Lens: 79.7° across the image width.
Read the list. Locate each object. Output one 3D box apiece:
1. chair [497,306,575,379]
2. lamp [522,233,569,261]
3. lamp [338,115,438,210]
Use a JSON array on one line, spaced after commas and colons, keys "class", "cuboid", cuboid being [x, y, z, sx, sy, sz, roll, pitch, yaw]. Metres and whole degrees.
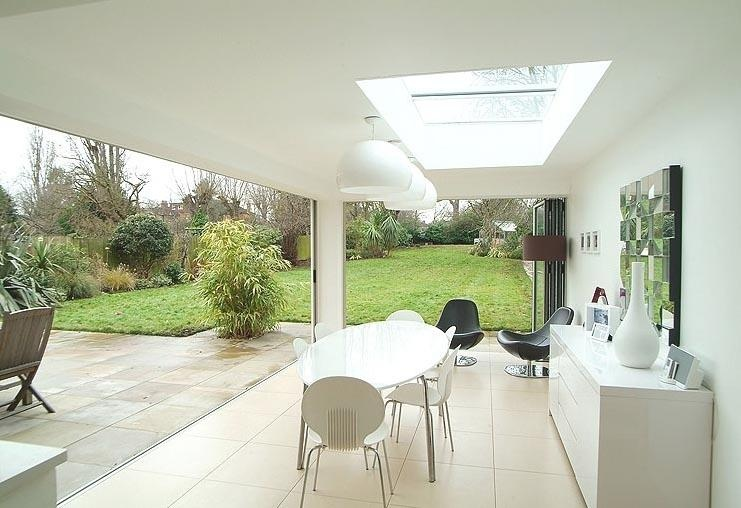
[{"class": "chair", "cuboid": [2.298, 1.184, 6.117, 1.053, 0.990, 0.916, 0, -4, -4]}, {"class": "lamp", "cuboid": [2.667, -0.109, 6.813, 0.454, 0.285, 0.459, 0, 2, 8]}, {"class": "lamp", "cuboid": [0.217, -0.980, 4.456, 0.551, 0.683, 1.363, -2, -3, 23]}]
